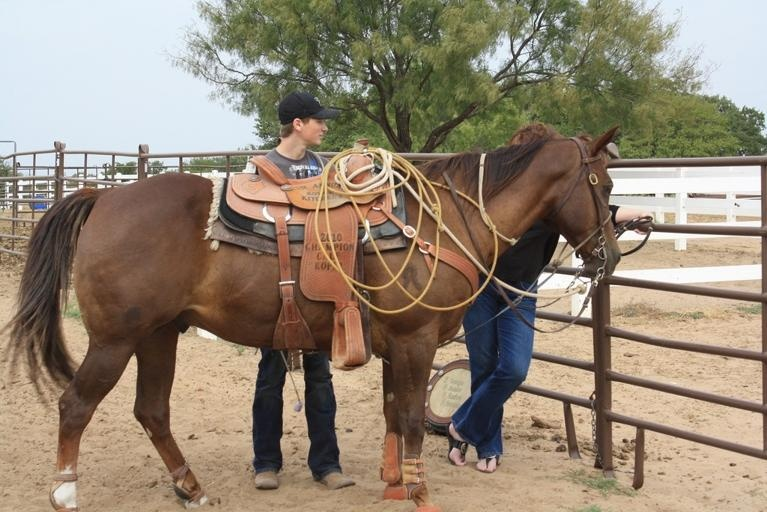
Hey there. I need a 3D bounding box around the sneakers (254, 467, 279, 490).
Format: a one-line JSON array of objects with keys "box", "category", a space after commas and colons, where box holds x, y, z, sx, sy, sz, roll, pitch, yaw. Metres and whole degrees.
[{"box": [-0.905, 1.740, 5.691, 0.190, 0.111, 0.073, 6, -28, 0], "category": "sneakers"}]

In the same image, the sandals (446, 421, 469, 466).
[{"box": [0.585, 1.559, 6.021, 0.136, 0.365, 0.137, 5, 5, -39], "category": "sandals"}]

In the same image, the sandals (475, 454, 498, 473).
[{"box": [0.820, 1.673, 5.890, 0.097, 0.074, 0.170, 35, -32, -7], "category": "sandals"}]

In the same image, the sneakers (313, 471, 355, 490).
[{"box": [-0.402, 1.738, 5.707, 0.237, 0.099, 0.126, 0, -2, 25], "category": "sneakers"}]

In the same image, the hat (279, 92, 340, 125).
[{"box": [-0.590, -1.110, 5.523, 0.481, 0.246, 0.308, -10, -1, -5], "category": "hat"}]
